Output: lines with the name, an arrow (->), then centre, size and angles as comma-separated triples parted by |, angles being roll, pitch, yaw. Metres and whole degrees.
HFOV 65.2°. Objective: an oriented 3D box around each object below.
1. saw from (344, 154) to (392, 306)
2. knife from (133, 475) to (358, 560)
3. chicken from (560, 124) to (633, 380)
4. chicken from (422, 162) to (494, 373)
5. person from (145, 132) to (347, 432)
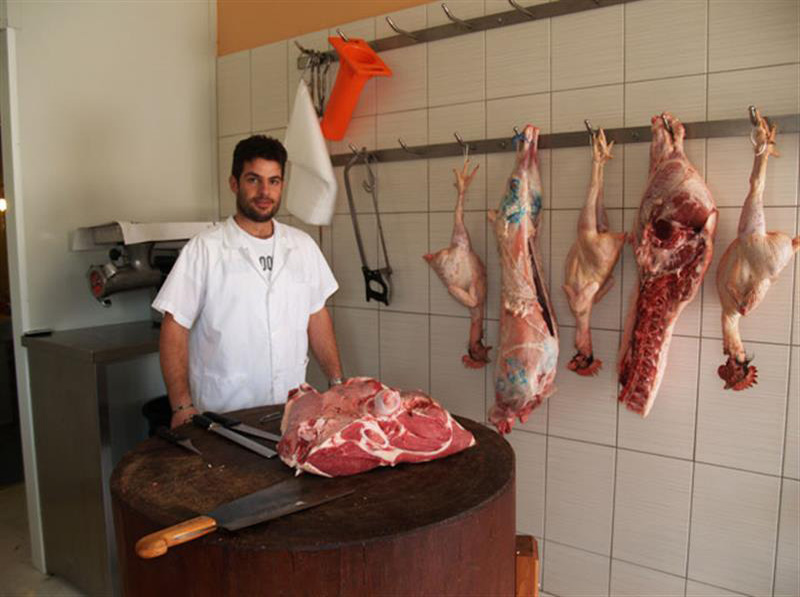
saw -> -0.150, -0.302, 3.018 | 0.193, 0.815, 0.166 | -8, 11, -39
knife -> -0.364, 0.552, 1.519 | 0.509, 0.144, 0.166 | -4, 8, -27
chicken -> 0.729, -0.168, 2.438 | 0.287, 0.897, 0.292 | 3, 11, 20
chicken -> 0.254, -0.150, 2.757 | 0.285, 0.907, 0.221 | 0, 7, 7
person -> -0.662, 0.014, 2.700 | 0.653, 1.337, 0.578 | -3, 11, -31
